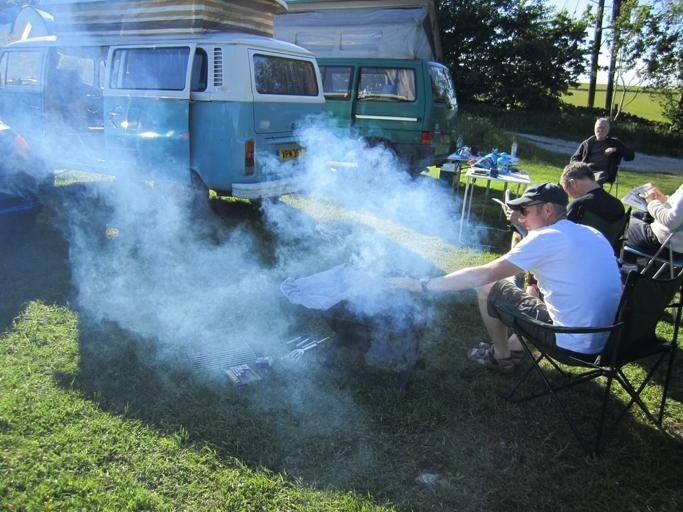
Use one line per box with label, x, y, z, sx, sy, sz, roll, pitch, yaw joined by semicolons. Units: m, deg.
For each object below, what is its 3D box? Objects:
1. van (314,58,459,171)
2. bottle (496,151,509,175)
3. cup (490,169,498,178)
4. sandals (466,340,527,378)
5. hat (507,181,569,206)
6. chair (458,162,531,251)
van;0.724;-2.413;9.420;2.061;1.310;1.357;14;23;29
bottle;2.225;-1.265;7.942;0.174;0.159;0.504;6;36;19
cup;1.956;-1.053;7.418;0.095;0.087;0.144;3;-10;-1
sandals;1.307;0.880;4.993;0.371;0.159;0.252;22;37;36
hat;1.563;-0.479;4.545;0.294;0.144;0.210;-3;11;14
chair;2.031;-0.632;7.741;0.830;0.966;0.737;8;14;18
